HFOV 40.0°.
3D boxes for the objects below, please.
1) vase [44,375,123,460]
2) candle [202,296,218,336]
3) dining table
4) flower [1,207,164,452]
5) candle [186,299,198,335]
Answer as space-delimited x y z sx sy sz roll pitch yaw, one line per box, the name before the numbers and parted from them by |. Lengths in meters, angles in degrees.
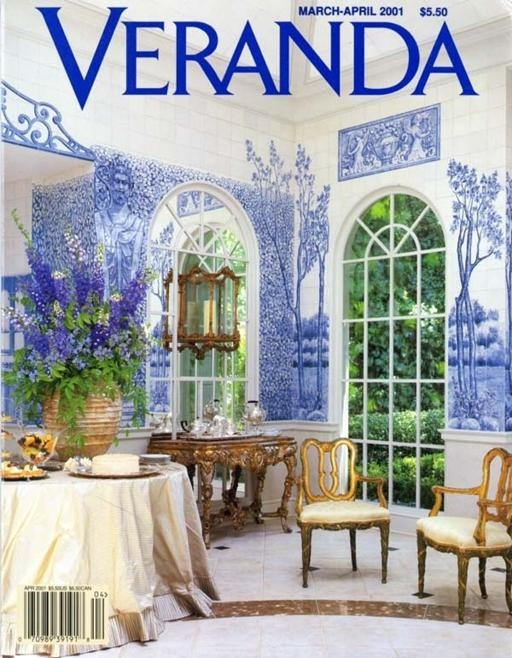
vase | -0.965 0.465 3.728 0.419 0.441 0.392 2 -8 -26
candle | -0.348 -0.082 5.366 0.134 0.260 0.072 3 -6 -22
dining table | -0.739 0.959 3.127 0.875 0.461 0.817 -1 1 44
flower | -0.954 0.075 3.697 0.751 1.220 0.487 2 -5 -7
candle | -0.484 -0.079 5.338 0.083 0.252 0.051 1 -5 0
